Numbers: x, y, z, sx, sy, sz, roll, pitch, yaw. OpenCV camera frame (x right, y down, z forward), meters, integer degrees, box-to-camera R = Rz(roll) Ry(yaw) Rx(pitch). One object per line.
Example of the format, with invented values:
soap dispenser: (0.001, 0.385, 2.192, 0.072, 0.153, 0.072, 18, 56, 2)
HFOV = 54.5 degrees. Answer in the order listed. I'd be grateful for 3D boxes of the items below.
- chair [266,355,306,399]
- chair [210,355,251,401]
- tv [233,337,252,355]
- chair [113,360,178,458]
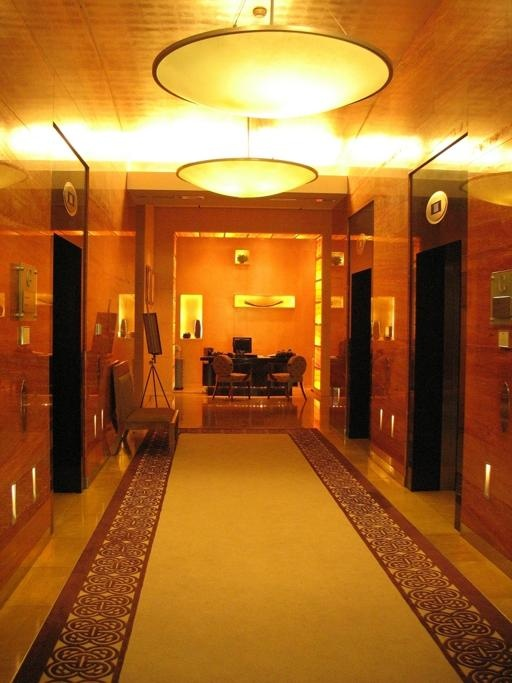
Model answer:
chair: (0.775, 0.817, 12.001, 0.736, 1.127, 0.739, 4, 2, 45)
chair: (-0.592, 0.885, 12.152, 0.925, 1.200, 1.388, -1, 6, -1)
tv: (-0.368, 0.131, 13.559, 0.613, 0.659, 0.363, 0, -1, -4)
chair: (-1.612, 0.947, 7.032, 0.976, 1.640, 1.003, -1, 4, -5)
